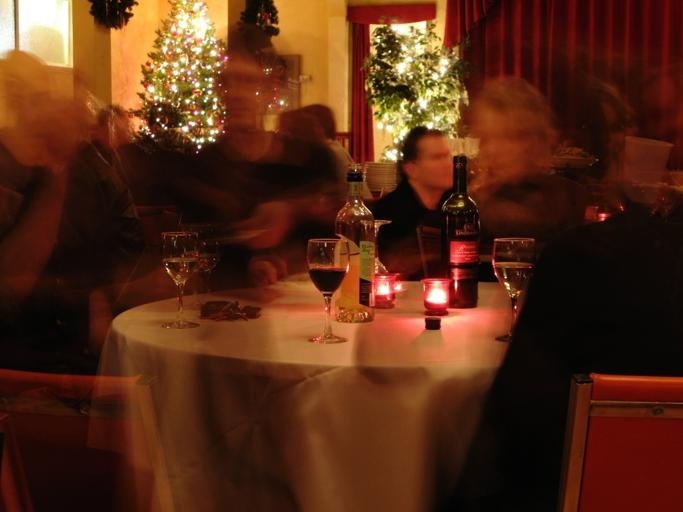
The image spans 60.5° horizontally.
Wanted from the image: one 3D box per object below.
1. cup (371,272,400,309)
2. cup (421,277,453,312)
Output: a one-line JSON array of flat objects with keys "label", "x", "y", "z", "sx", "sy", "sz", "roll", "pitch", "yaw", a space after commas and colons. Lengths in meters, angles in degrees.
[{"label": "cup", "x": 0.112, "y": 0.089, "z": 1.548, "sx": 0.087, "sy": 0.098, "sz": 0.082, "roll": 1, "pitch": -5, "yaw": 0}, {"label": "cup", "x": 0.238, "y": 0.099, "z": 1.495, "sx": 0.081, "sy": 0.092, "sz": 0.076, "roll": 0, "pitch": -2, "yaw": 0}]
